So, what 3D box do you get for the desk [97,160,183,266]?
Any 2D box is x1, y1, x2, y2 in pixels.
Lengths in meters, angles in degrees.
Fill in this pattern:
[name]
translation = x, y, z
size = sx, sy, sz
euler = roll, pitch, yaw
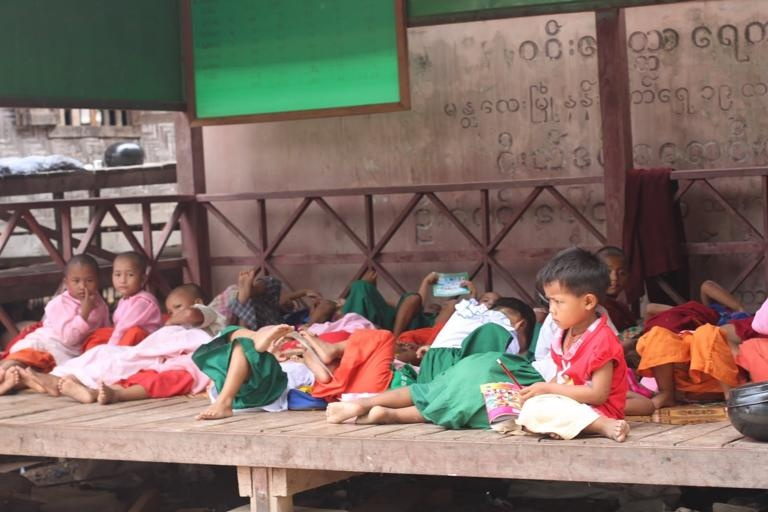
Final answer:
[desk]
translation = -2.540, -0.457, 10.281
size = 0.568, 0.817, 1.018
euler = 2, 5, 41
